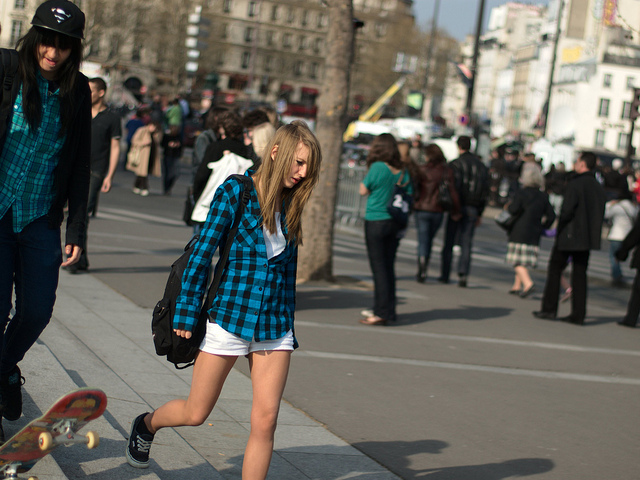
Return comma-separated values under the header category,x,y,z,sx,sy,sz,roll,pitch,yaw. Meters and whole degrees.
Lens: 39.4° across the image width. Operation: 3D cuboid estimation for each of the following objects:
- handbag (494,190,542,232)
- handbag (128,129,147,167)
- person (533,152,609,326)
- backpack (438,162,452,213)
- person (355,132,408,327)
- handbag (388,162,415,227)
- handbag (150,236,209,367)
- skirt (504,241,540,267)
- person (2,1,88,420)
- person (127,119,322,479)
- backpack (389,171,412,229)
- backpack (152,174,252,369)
category,x,y,z,sx,sy,sz,roll,pitch,yaw
handbag,2.879,-0.472,13.223,0.620,0.636,0.493,6,-1,28
handbag,-4.170,-2.068,19.961,0.440,0.866,0.194,10,8,24
person,3.225,-0.022,11.445,0.662,2.204,0.695,9,8,17
backpack,1.815,-0.749,13.192,0.191,0.815,0.336,-7,33,-5
person,0.650,-0.102,9.852,0.556,2.105,0.495,7,7,6
handbag,0.869,-0.476,9.807,0.214,0.660,0.397,8,8,15
handbag,-0.825,0.388,5.162,0.264,0.790,0.323,3,8,-27
skirt,2.915,0.234,13.100,0.503,0.381,0.344,5,-7,-5
person,-1.730,-0.121,5.342,0.466,2.610,0.304,4,8,-16
person,-0.531,0.387,5.180,0.859,2.208,0.578,6,7,-3
backpack,0.847,-0.435,9.764,0.107,0.677,0.289,-13,-42,31
backpack,-0.711,0.208,5.203,0.473,1.204,0.313,0,10,-42
